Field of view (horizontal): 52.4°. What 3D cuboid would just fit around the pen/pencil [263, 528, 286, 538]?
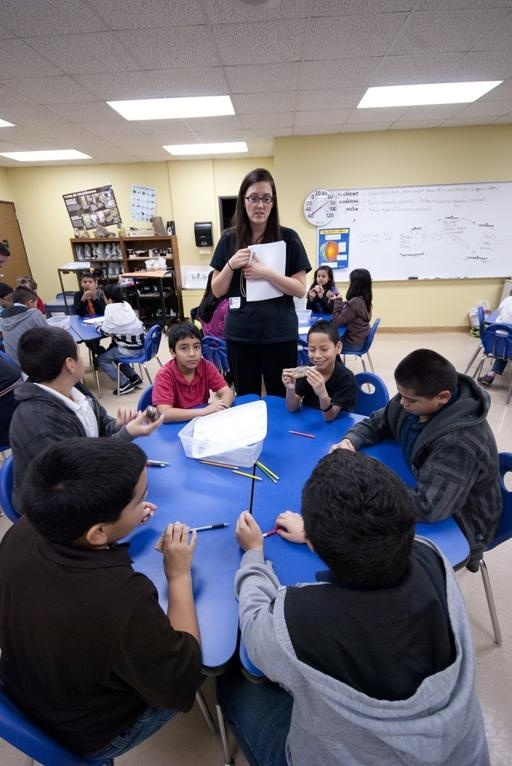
[{"bbox_3d":[0.047,0.372,1.290,0.040,0.013,0.024,-14,8,-21],"label":"pen/pencil"}]

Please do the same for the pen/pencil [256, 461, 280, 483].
[{"bbox_3d":[0.033,0.267,1.553,0.025,0.008,0.108,-11,20,-21],"label":"pen/pencil"}]

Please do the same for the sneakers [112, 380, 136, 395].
[{"bbox_3d":[-1.103,0.049,4.381,0.195,0.093,0.073,-17,6,27],"label":"sneakers"}]

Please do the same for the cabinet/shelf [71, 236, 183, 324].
[{"bbox_3d":[-1.615,-1.339,6.687,1.036,0.992,0.299,-10,18,-6],"label":"cabinet/shelf"}]

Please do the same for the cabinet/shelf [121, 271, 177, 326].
[{"bbox_3d":[-1.279,-1.072,6.777,0.540,0.758,0.528,-13,26,-23],"label":"cabinet/shelf"}]

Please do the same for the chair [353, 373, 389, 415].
[{"bbox_3d":[0.473,0.053,2.167,0.137,0.201,0.153,6,19,40],"label":"chair"}]

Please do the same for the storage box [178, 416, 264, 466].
[{"bbox_3d":[-0.113,0.190,1.634,0.179,0.061,0.138,5,32,17],"label":"storage box"}]

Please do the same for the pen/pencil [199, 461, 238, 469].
[{"bbox_3d":[-0.112,0.258,1.619,0.076,0.008,0.008,10,-15,14],"label":"pen/pencil"}]
